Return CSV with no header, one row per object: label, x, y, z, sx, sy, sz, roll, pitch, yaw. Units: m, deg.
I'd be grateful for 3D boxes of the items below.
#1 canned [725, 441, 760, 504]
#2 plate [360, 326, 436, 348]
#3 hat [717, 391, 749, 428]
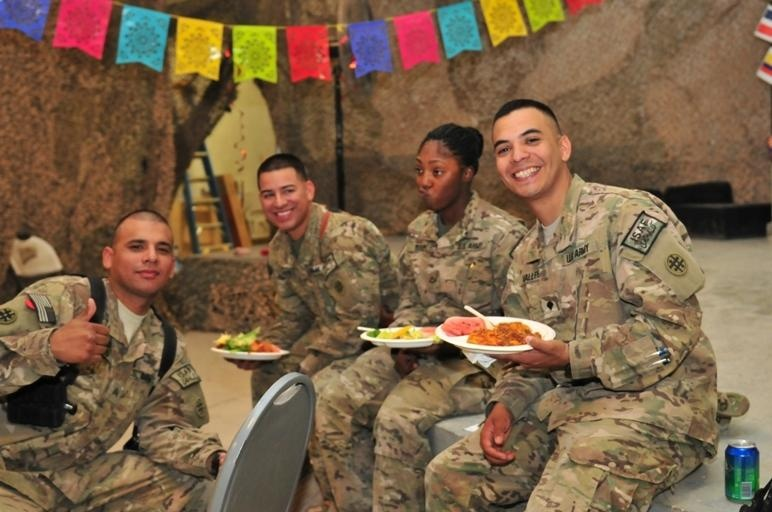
canned,1.712,1.037,3.592,0.147,0.273,0.167,-1,5,24
plate,0.076,0.452,4.147,0.230,0.039,0.206,2,4,26
hat,1.902,0.861,4.119,0.204,0.228,0.121,-7,6,-44
